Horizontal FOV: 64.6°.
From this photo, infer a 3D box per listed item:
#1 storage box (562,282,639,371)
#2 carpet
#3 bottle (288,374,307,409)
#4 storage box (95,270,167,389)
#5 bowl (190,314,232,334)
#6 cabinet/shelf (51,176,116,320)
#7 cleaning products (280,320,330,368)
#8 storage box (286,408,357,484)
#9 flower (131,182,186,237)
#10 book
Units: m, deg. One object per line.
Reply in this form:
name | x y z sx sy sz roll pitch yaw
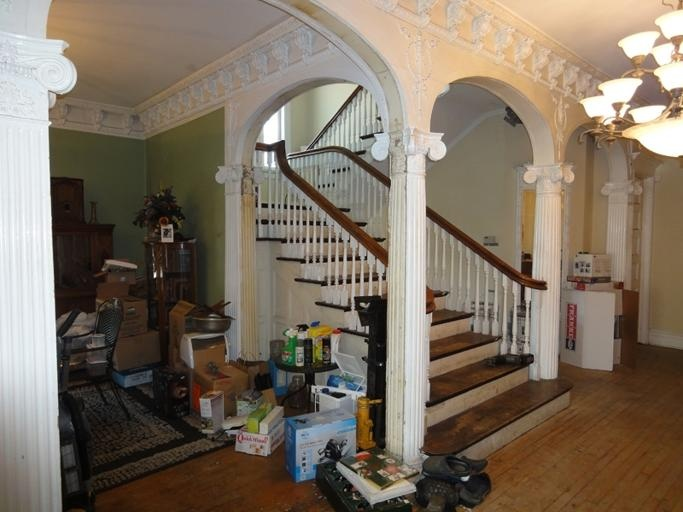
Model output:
storage box | 3.298 0.906 6.954 0.679 0.993 0.660 -5 7 -29
carpet | -1.875 1.685 5.274 1.083 0.367 1.680 -2 0 -28
bottle | -0.491 1.432 5.669 0.220 0.345 0.199 6 -17 -12
storage box | -2.533 0.838 6.501 0.644 1.315 0.704 -2 1 -36
bowl | -1.387 0.714 5.750 0.254 0.125 0.262 3 0 0
cabinet/shelf | -3.421 -0.156 7.179 0.708 1.902 0.511 -2 1 -30
cleaning products | -0.390 0.868 5.369 0.422 0.491 0.364 2 0 -18
storage box | -0.192 1.493 4.636 0.763 0.586 0.425 -3 3 -34
flower | -2.252 -0.536 6.724 0.425 0.575 0.522 -2 1 -39
book | 0.321 1.741 4.076 0.301 0.070 0.325 -1 6 -31
